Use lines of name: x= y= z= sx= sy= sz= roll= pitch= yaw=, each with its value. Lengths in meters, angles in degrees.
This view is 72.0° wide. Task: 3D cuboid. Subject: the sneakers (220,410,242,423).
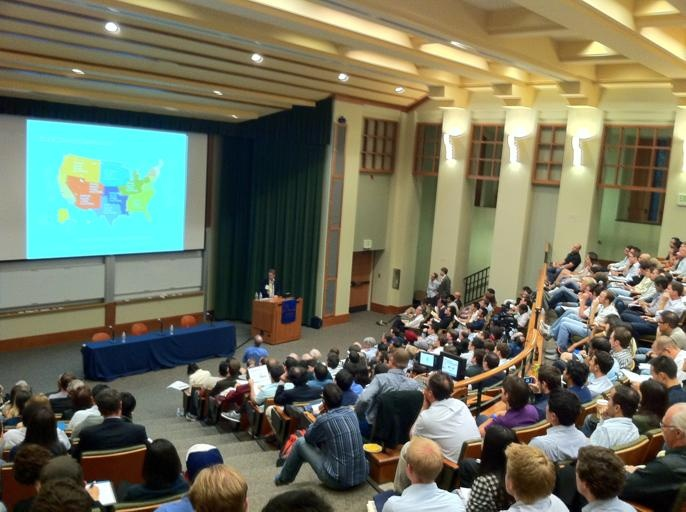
sneakers: x=-1.696 y=2.393 z=7.026 sx=0.398 sy=0.167 sz=0.156 roll=3 pitch=-13 yaw=38
